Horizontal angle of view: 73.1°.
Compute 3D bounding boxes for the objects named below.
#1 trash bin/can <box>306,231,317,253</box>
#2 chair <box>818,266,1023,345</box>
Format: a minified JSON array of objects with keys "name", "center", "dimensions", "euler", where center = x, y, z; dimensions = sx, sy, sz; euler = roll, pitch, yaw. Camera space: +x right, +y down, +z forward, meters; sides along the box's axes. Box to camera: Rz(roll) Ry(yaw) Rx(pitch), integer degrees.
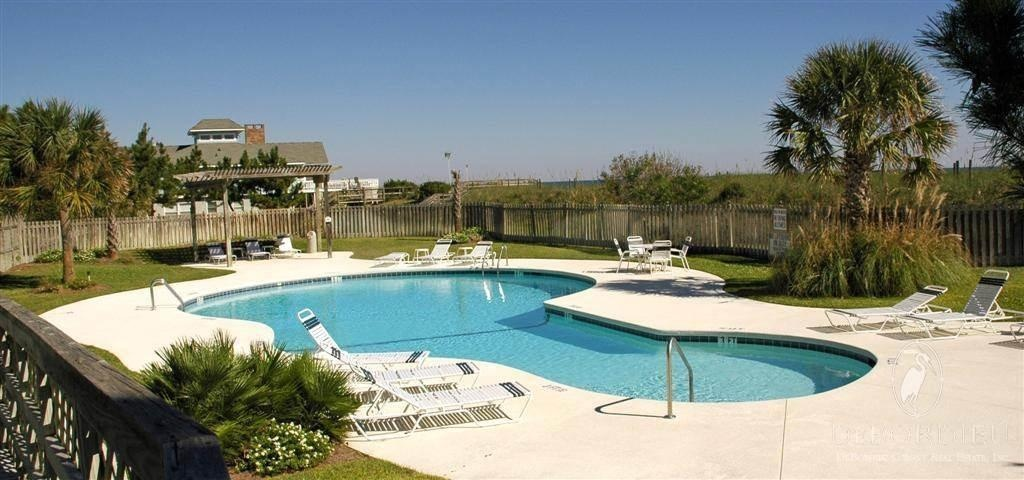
[{"name":"trash bin/can","center":[-10.615,0.110,36.535],"dimensions":[0.494,1.048,0.719],"euler":[-4,4,-16]},{"name":"chair","center":[13.035,2.046,21.699],"dimensions":[5.046,1.810,1.992],"euler":[-2,3,9]}]
